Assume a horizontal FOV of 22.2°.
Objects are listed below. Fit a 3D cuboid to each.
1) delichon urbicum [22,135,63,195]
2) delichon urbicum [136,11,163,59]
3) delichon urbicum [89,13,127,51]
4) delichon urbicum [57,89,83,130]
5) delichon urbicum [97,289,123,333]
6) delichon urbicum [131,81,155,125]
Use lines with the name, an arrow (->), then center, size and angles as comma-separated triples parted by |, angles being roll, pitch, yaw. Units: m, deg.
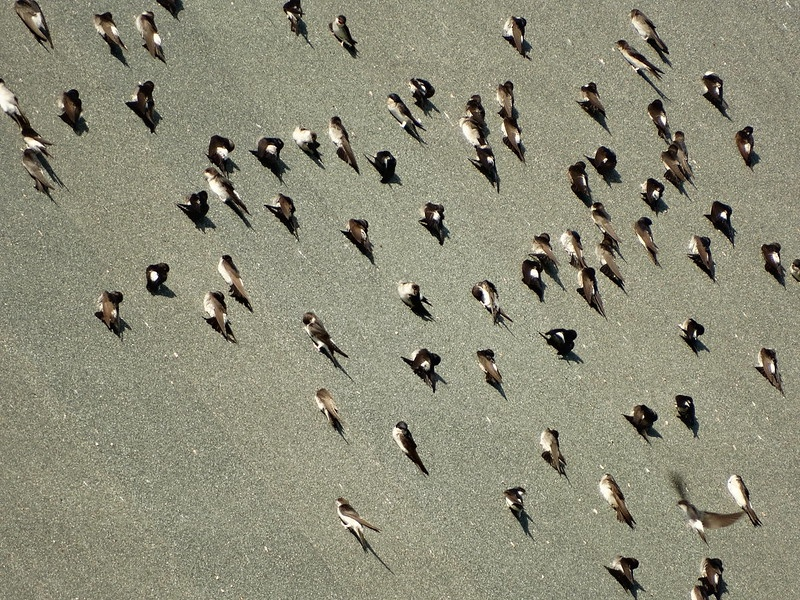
delichon urbicum -> -5.647, -2.146, 31.781 | 0.434, 0.361, 0.944 | -19, 71, -31
delichon urbicum -> -4.029, -4.276, 32.529 | 0.377, 0.276, 0.928 | -8, 71, -2
delichon urbicum -> -4.655, -4.456, 32.471 | 0.330, 0.461, 0.989 | -4, 24, -32
delichon urbicum -> -5.199, -3.046, 32.123 | 0.303, 0.393, 0.645 | -7, 84, -6
delichon urbicum -> -4.544, 0.243, 31.578 | 0.418, 0.799, 0.323 | -29, 63, -21
delichon urbicum -> -4.083, -3.194, 32.298 | 0.239, 0.794, 0.319 | 1, 24, 6
